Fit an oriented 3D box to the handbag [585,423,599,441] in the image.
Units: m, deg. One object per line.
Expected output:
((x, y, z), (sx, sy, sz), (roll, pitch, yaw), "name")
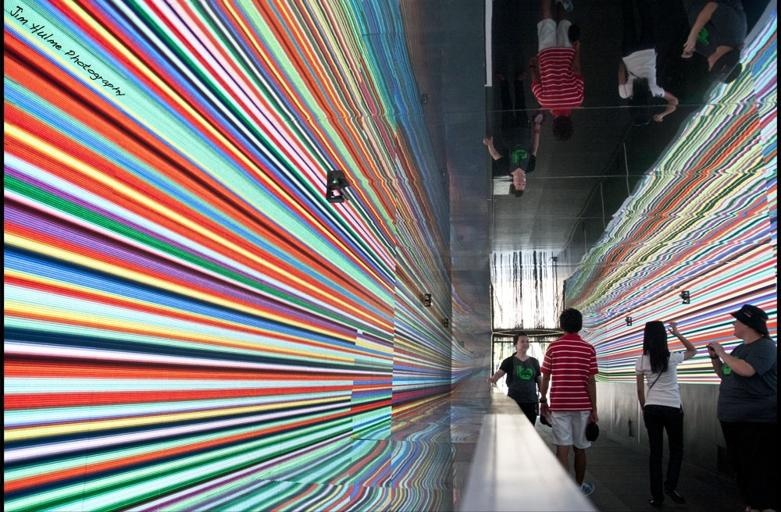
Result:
((1.479, 1.327, 3.927), (0.134, 0.140, 0.050), (19, -5, -35), "handbag")

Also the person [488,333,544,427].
((1.245, 1.227, 5.156), (0.492, 0.906, 0.749), (-8, -12, 8), "person")

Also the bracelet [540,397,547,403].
((1.179, 1.112, 4.006), (0.053, 0.023, 0.058), (4, 3, 9), "bracelet")

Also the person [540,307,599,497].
((1.357, 1.059, 3.954), (0.436, 1.290, 0.286), (-7, -12, 4), "person")

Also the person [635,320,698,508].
((2.054, 1.179, 3.950), (0.279, 1.360, 0.393), (3, -16, -38), "person")

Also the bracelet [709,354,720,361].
((2.357, 0.745, 3.821), (0.066, 0.057, 0.022), (-26, -1, 39), "bracelet")
